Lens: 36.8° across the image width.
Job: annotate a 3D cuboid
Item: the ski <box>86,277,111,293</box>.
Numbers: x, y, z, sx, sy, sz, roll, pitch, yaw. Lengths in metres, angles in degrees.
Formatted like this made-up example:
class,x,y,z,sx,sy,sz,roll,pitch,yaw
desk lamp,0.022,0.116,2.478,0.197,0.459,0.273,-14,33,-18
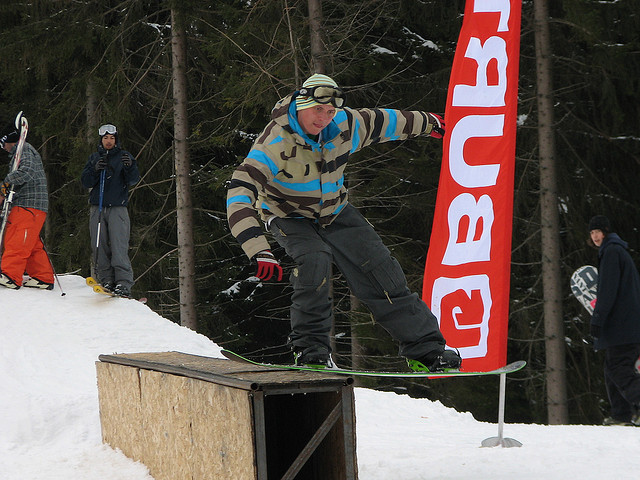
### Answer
class,x,y,z,sx,sy,sz,roll,pitch,yaw
ski,-3.601,0.719,15.661,0.397,0.100,0.071,31,16,20

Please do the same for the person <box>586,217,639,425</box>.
class,x,y,z,sx,sy,sz,roll,pitch,yaw
person,4.137,1.195,13.398,0.626,2.725,0.995,1,14,19

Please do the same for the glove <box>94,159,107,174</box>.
class,x,y,z,sx,sy,sz,roll,pitch,yaw
glove,-3.500,-1.182,15.358,0.214,0.229,0.153,-9,14,-19

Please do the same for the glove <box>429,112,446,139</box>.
class,x,y,z,sx,sy,sz,roll,pitch,yaw
glove,1.503,-1.435,12.146,0.123,0.374,0.152,-5,5,28

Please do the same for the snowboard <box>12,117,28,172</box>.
class,x,y,z,sx,sy,sz,roll,pitch,yaw
snowboard,-4.871,-1.526,15.563,0.096,0.920,0.152,13,-7,15

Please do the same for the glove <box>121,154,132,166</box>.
class,x,y,z,sx,sy,sz,roll,pitch,yaw
glove,-3.084,-1.288,15.385,0.147,0.174,0.097,-4,13,1

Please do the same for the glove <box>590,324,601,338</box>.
class,x,y,z,sx,sy,sz,roll,pitch,yaw
glove,3.843,1.239,13.298,0.122,0.184,0.061,-8,-1,24

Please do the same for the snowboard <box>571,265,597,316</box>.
class,x,y,z,sx,sy,sz,roll,pitch,yaw
snowboard,3.991,0.690,14.331,0.369,0.177,1.321,-15,-39,13

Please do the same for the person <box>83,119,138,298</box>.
class,x,y,z,sx,sy,sz,roll,pitch,yaw
person,-3.381,-0.468,15.484,0.902,2.692,0.661,-7,14,-15

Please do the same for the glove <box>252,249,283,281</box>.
class,x,y,z,sx,sy,sz,roll,pitch,yaw
glove,-0.605,0.297,11.084,0.316,0.370,0.326,-5,14,-3
